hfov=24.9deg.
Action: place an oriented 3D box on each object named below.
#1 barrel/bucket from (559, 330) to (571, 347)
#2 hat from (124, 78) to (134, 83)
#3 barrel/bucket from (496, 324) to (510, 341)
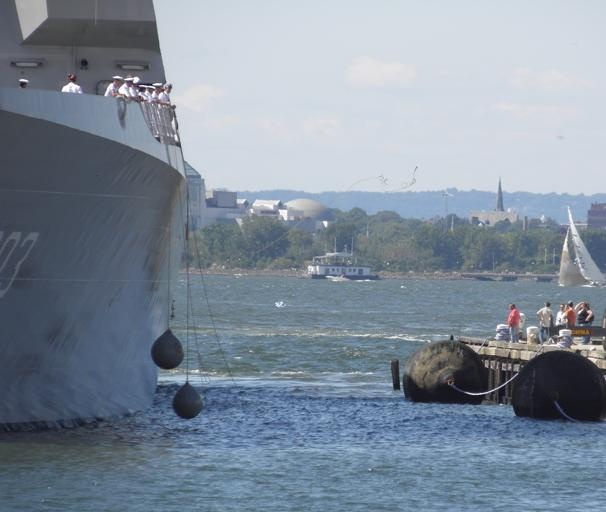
[{"bbox_3d":[6.208,1.963,32.544,0.294,0.415,0.530,3,1,9],"label":"barrel/bucket"},{"bbox_3d":[-3.523,-3.527,27.593,0.253,0.066,0.250,-2,6,-14],"label":"hat"},{"bbox_3d":[5.165,1.994,35.520,0.369,0.497,0.372,0,4,0],"label":"barrel/bucket"}]
